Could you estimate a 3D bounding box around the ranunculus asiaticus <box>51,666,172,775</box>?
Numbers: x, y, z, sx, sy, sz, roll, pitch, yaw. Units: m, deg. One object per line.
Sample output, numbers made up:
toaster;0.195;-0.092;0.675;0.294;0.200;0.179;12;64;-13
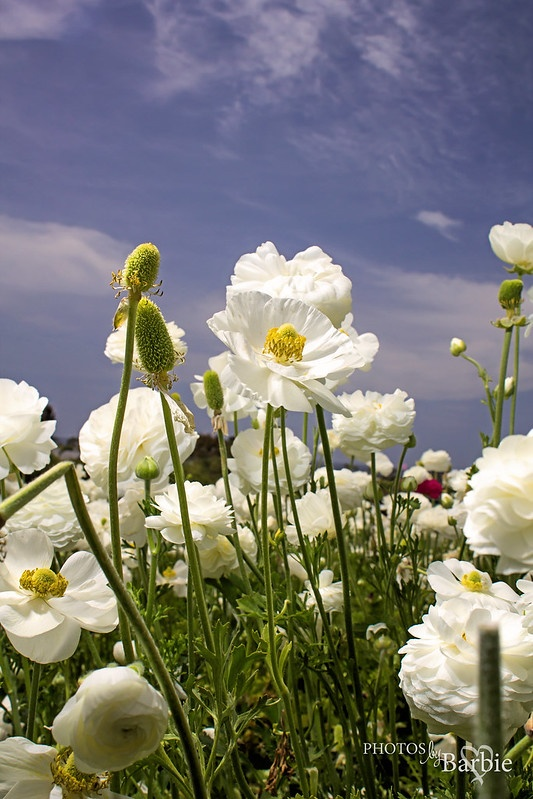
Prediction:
ranunculus asiaticus;-0.197;0.402;1.100;0.130;0.092;0.124;11;-32;-2
